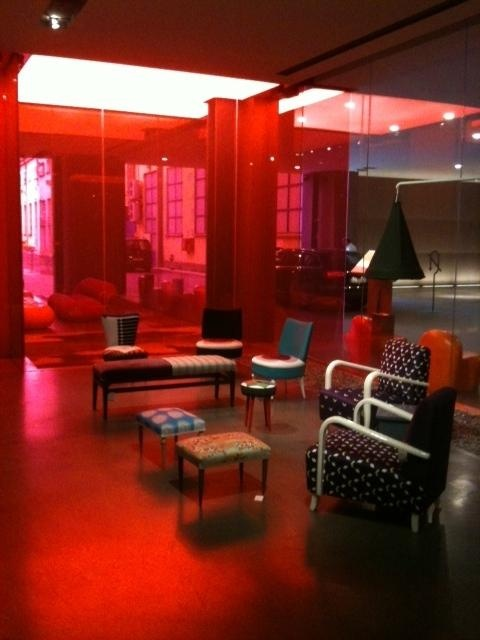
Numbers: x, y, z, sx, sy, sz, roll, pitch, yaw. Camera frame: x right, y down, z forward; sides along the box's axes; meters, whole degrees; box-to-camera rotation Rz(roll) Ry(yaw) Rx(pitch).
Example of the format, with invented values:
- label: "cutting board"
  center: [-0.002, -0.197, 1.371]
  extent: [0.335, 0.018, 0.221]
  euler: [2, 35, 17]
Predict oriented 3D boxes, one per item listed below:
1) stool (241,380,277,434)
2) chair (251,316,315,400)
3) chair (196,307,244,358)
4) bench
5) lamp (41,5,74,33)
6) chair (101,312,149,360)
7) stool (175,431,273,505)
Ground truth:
- label: "stool"
  center: [0.156, 0.774, 4.688]
  extent: [0.366, 0.484, 0.392]
  euler: [0, 2, -10]
- label: "chair"
  center: [0.487, 0.455, 6.011]
  extent: [0.627, 0.940, 0.628]
  euler: [1, 4, -35]
- label: "chair"
  center: [-0.257, 0.183, 6.860]
  extent: [0.616, 0.761, 0.648]
  euler: [2, -4, -12]
- label: "bench"
  center: [-0.854, 0.671, 5.704]
  extent: [1.506, 0.540, 1.090]
  euler: [0, 3, -20]
- label: "lamp"
  center: [-1.578, -2.626, 4.429]
  extent: [0.186, 0.059, 0.216]
  euler: [-18, 8, -2]
- label: "chair"
  center: [-1.477, 0.272, 6.751]
  extent: [0.578, 0.698, 0.564]
  euler: [-2, 10, -23]
- label: "stool"
  center: [-0.114, 0.967, 3.433]
  extent: [0.517, 0.371, 0.375]
  euler: [-1, 5, -31]
